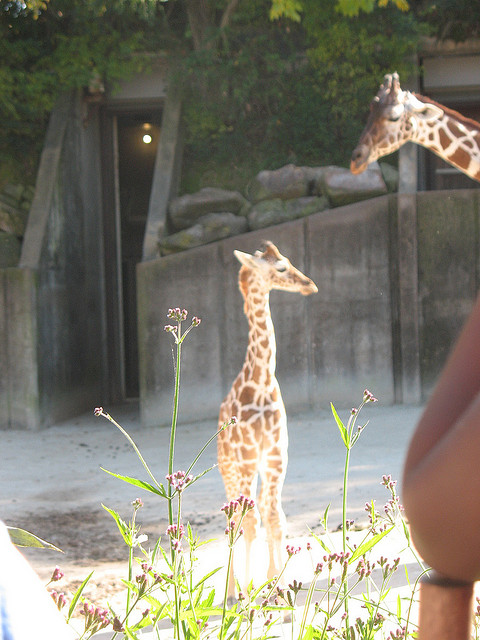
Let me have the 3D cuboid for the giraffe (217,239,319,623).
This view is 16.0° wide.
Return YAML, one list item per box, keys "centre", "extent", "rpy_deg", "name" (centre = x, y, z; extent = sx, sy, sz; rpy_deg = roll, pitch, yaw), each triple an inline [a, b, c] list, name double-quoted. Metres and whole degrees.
- centre: [0.165, 0.798, 12.296]
  extent: [0.650, 2.736, 0.805]
  rpy_deg: [-1, 2, -1]
  name: "giraffe"
